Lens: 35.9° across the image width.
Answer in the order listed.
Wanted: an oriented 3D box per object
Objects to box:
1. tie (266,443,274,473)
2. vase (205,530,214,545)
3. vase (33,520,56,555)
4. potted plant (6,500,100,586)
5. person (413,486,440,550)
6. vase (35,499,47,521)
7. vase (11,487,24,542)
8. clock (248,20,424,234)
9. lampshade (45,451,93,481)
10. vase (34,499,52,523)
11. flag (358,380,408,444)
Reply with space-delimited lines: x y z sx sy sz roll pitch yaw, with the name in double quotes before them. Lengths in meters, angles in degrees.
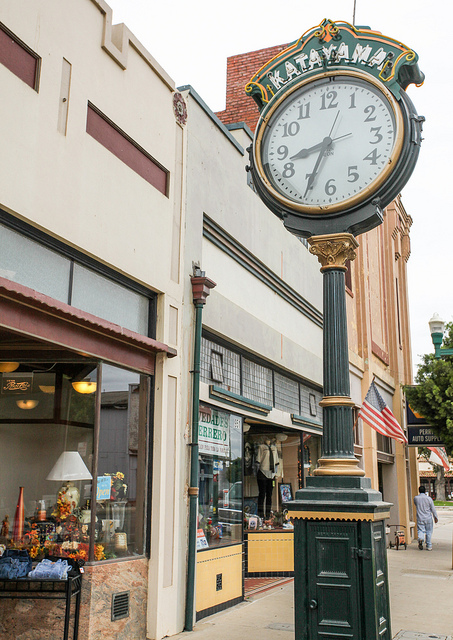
"tie" 0.837 2.627 13.316 0.078 0.525 0.100 3 -16 -18
"vase" -0.214 2.829 9.113 0.052 0.159 0.297 -5 -18 9
"vase" -1.755 2.087 6.745 0.241 0.331 0.112 -13 -19 29
"potted plant" -1.686 2.060 6.527 0.777 0.768 0.636 -8 -17 14
"person" 5.695 5.678 20.149 0.553 1.753 1.467 -7 -17 14
"vase" -1.837 1.883 6.923 0.098 0.239 0.081 10 -22 -35
"vase" -2.040 1.903 6.875 0.104 0.528 0.193 3 -17 -19
"clock" 0.996 -1.806 6.913 1.717 2.514 0.362 -4 -24 18
"lampshade" -1.566 1.520 6.940 0.336 0.216 0.306 14 -24 -41
"vase" -1.814 1.880 6.906 0.158 0.227 0.138 -1 -16 -8
"flag" 3.394 1.940 14.916 1.126 1.449 0.154 -1 -41 33
